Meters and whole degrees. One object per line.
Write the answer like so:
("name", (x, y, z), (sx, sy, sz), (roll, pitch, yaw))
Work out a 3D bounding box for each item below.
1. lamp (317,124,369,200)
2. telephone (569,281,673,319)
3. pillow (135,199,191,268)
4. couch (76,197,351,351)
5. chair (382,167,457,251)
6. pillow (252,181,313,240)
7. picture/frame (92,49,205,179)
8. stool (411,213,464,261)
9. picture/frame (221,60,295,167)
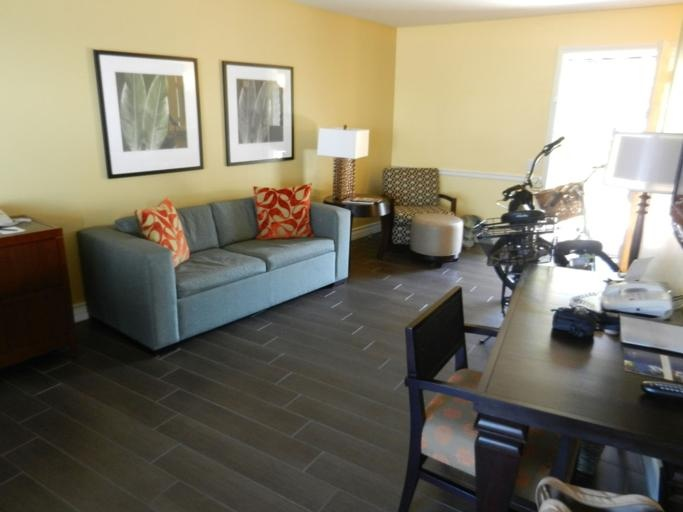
("lamp", (0.028, -0.970, 5.435), (0.608, 0.774, 0.597), (-12, 18, -39))
("telephone", (1.384, 0.204, 2.442), (0.316, 0.093, 0.247), (5, 11, 24))
("pillow", (-1.424, -0.174, 4.019), (0.257, 0.446, 0.492), (1, 14, 7))
("couch", (-0.989, -0.004, 4.481), (0.985, 0.851, 2.184), (16, 24, 39))
("chair", (0.931, -0.571, 6.231), (0.894, 0.968, 0.881), (3, 9, 4))
("pillow", (-0.560, -0.410, 4.884), (0.563, 0.516, 0.202), (-3, 11, -5))
("picture/frame", (-1.639, -1.189, 4.180), (1.007, 1.098, 0.073), (-20, 27, -40))
("stool", (1.097, -0.234, 5.745), (0.561, 0.442, 0.561), (5, 22, 17))
("picture/frame", (-0.859, -1.428, 4.993), (0.055, 1.090, 1.037), (14, 19, 41))
